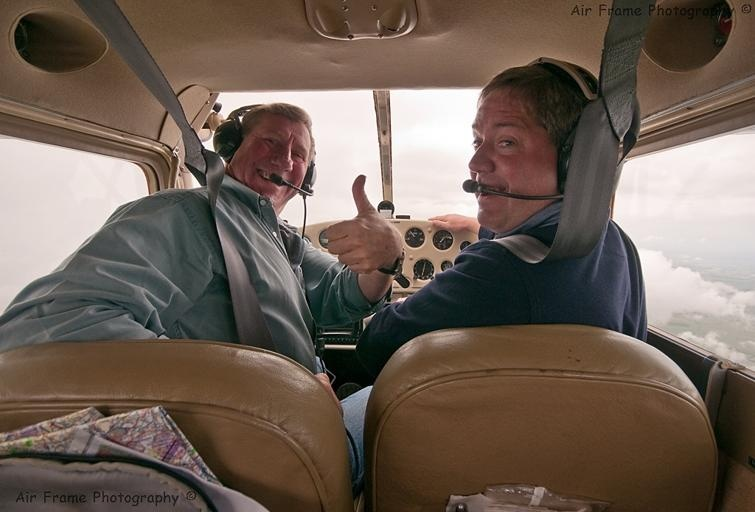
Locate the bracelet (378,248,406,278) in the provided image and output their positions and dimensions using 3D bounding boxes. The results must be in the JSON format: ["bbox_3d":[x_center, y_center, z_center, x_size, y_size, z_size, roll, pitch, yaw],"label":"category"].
[{"bbox_3d":[0.064,0.033,2.271,0.108,0.052,0.080,-10,16,-3],"label":"bracelet"}]

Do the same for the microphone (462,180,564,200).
[{"bbox_3d":[0.441,-0.210,1.914,0.330,0.050,0.177,5,-5,5],"label":"microphone"}]

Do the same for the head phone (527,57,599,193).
[{"bbox_3d":[0.618,-0.418,1.917,0.199,0.400,0.298,10,8,-21],"label":"head phone"}]
